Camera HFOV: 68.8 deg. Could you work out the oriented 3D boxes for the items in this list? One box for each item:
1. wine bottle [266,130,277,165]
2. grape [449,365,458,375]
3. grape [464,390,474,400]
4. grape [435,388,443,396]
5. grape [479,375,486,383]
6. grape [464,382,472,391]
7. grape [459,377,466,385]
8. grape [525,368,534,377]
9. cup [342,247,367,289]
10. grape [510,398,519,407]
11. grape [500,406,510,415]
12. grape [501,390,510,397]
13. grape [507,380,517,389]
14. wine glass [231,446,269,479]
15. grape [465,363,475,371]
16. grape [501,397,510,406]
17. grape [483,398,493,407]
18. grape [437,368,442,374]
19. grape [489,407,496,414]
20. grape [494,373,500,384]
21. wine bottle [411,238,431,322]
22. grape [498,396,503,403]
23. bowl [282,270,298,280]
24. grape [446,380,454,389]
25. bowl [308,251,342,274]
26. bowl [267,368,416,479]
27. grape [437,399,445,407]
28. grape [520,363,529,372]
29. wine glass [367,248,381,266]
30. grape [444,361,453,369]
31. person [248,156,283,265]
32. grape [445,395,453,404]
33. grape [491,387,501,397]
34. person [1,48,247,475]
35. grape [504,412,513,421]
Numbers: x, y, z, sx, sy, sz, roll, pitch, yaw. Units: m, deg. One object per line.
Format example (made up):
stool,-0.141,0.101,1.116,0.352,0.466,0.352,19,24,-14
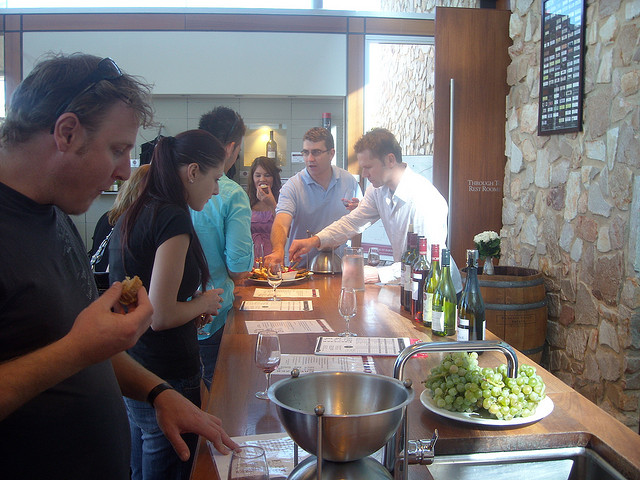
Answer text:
wine bottle,-0.503,-0.970,4.850,0.112,0.340,0.057,-1,8,-10
grape,0.384,0.370,1.343,0.025,0.025,0.023,-14,-12,-10
grape,0.420,0.433,1.311,0.020,0.023,0.020,28,18,39
grape,0.349,0.444,1.368,0.020,0.019,0.018,15,-9,29
grape,0.457,0.390,1.311,0.019,0.021,0.006,-1,8,-9
grape,0.418,0.414,1.321,0.015,0.020,0.011,2,8,13
grape,0.408,0.401,1.333,0.013,0.016,0.017,-4,3,35
grape,0.603,0.378,1.344,0.017,0.020,0.021,-13,-5,-27
cup,0.189,0.122,2.518,0.145,0.251,0.153,1,19,0
grape,0.539,0.448,1.290,0.019,0.027,0.021,-14,-6,7
grape,0.508,0.465,1.279,0.016,0.018,0.018,-11,-33,28
grape,0.516,0.426,1.299,0.013,0.019,0.015,2,-24,14
grape,0.539,0.400,1.307,0.020,0.019,0.018,-20,14,38
wine glass,-0.158,0.496,1.049,0.079,0.039,0.096,-1,9,-8
grape,0.426,0.355,1.314,0.015,0.019,0.010,10,0,18
grape,0.514,0.444,1.288,0.016,0.020,0.021,-10,-27,19
grape,0.466,0.449,1.295,0.019,0.024,0.025,-1,13,10
grape,0.359,0.392,1.397,0.016,0.016,0.005,8,12,44
grape,0.483,0.478,1.304,0.017,0.027,0.025,3,9,22
grape,0.499,0.389,1.314,0.015,0.023,0.011,9,-12,-32
wine bottle,0.455,0.179,2.145,0.080,0.380,0.088,4,10,2
grape,0.501,0.441,1.293,0.006,0.013,0.010,10,1,23
bowl,-0.195,0.219,3.060,0.077,0.028,0.216,1,9,3
grape,0.377,0.416,1.350,0.014,0.025,0.022,-2,9,-17
bowl,0.049,0.162,3.306,0.148,0.117,0.164,1,0,-3
bowl,0.040,0.281,0.964,0.240,0.216,0.257,0,-1,0
grape,0.351,0.470,1.346,0.018,0.019,0.017,1,-12,16
grape,0.609,0.379,1.386,0.026,0.012,0.030,-1,37,7
wine glass,0.440,0.131,3.777,0.123,0.200,0.135,-2,9,-3
grape,0.376,0.364,1.366,0.017,0.021,0.022,5,-3,0
person,-0.594,-0.138,4.741,0.328,1.375,0.342,1,21,-10
grape,0.369,0.455,1.334,0.018,0.022,0.023,0,7,-26
grape,0.489,0.419,1.297,0.020,0.023,0.024,5,0,-26
person,-0.552,0.098,1.249,0.489,1.167,0.493,-3,9,-23
grape,0.520,0.485,1.283,0.019,0.012,0.022,-3,18,18
